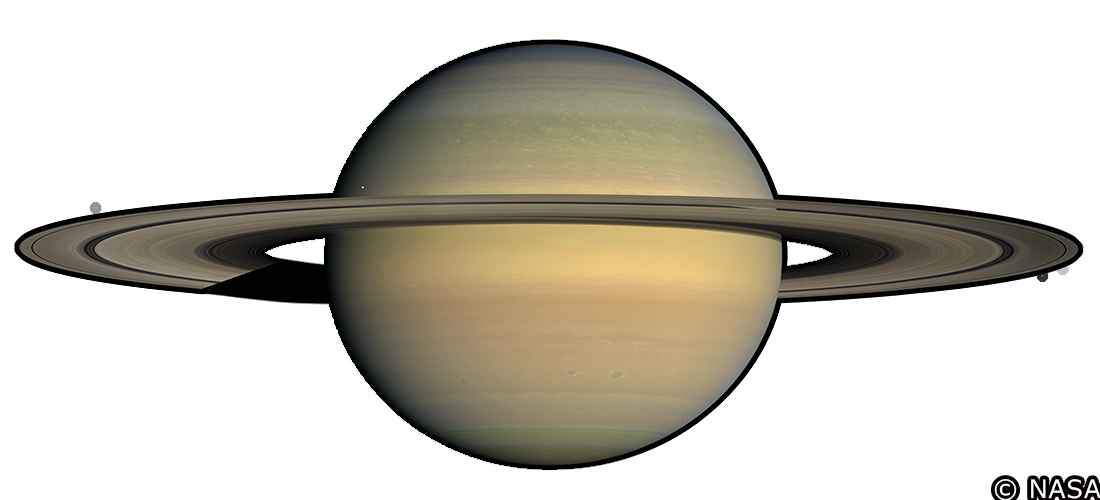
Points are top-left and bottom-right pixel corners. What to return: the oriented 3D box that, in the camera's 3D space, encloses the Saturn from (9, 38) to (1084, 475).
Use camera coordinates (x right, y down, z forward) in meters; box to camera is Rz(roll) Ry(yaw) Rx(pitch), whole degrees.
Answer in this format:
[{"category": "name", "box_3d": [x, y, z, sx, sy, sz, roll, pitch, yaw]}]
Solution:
[{"category": "Saturn", "box_3d": [-0.147, 0.345, 18.425, 16.454, 3.135, 10.438, 2, -13, -9]}]
